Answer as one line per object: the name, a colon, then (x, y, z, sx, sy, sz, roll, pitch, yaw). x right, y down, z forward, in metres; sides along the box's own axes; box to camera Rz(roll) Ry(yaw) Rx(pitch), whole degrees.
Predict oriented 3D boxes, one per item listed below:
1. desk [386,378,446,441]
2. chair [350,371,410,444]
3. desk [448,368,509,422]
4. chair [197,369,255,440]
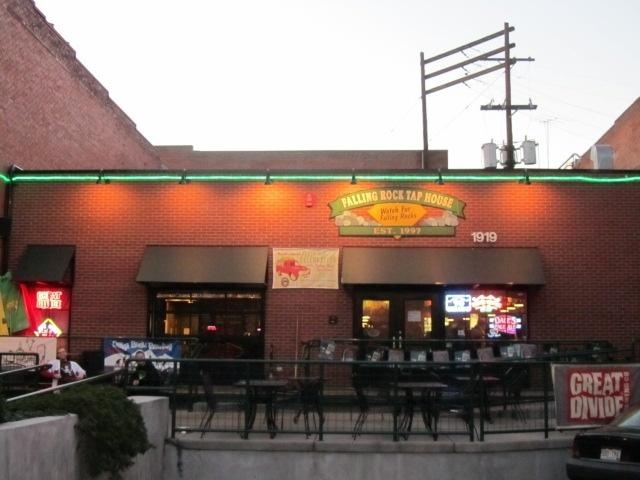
desk: (2.169, 3.477, 19.763, 1.468, 1.424, 0.814, -1, 10, 13)
chair: (1.380, 3.566, 19.997, 1.403, 1.825, 1.296, 1, -6, 6)
desk: (3.470, 3.435, 20.030, 1.193, 1.275, 2.303, -3, -8, 7)
chair: (-2.088, 3.450, 19.611, 1.292, 2.091, 1.137, -1, -1, -6)
